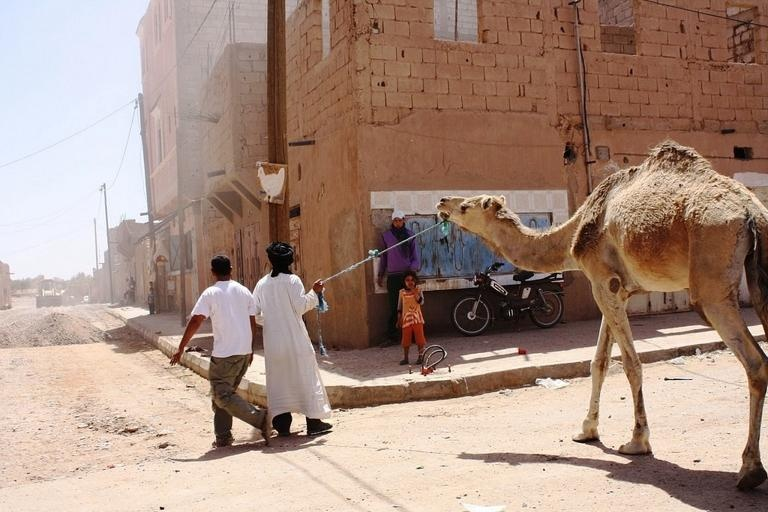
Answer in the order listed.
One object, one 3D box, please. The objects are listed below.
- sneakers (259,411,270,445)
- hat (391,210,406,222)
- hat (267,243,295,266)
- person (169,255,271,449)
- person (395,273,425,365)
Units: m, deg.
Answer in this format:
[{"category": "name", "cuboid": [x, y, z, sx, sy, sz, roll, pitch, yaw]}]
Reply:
[{"category": "sneakers", "cuboid": [-1.579, 2.309, 10.160, 0.178, 0.424, 0.142, -4, 9, 9]}, {"category": "hat", "cuboid": [0.242, -0.802, 15.013, 0.189, 0.240, 0.182, -3, -11, 5]}, {"category": "hat", "cuboid": [-1.501, -0.013, 10.875, 0.304, 0.303, 0.336, -1, 3, -4]}, {"category": "person", "cuboid": [-2.194, 1.295, 10.501, 1.041, 1.906, 0.816, -5, -2, -9]}, {"category": "person", "cuboid": [0.457, 1.113, 13.783, 0.507, 1.360, 1.226, -6, -2, 3]}]
